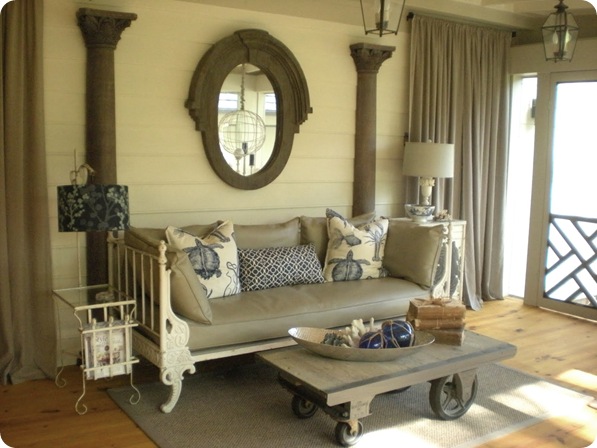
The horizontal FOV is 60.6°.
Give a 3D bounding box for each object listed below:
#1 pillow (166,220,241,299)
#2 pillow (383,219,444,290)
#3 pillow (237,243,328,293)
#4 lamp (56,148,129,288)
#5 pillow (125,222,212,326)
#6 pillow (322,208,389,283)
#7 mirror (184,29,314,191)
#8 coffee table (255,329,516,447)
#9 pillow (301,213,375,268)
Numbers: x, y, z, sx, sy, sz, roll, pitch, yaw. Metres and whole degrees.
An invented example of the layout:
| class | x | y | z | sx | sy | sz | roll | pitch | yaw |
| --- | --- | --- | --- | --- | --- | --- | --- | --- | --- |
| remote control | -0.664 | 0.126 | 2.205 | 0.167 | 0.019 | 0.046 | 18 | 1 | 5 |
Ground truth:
| class | x | y | z | sx | sy | sz | roll | pitch | yaw |
| --- | --- | --- | --- | --- | --- | --- | --- | --- | --- |
| pillow | -0.742 | 0.293 | 3.796 | 0.165 | 0.522 | 0.510 | -26 | -8 | 42 |
| pillow | 0.939 | 0.265 | 4.269 | 0.231 | 0.481 | 0.602 | -21 | 17 | -38 |
| pillow | -0.157 | 0.341 | 4.004 | 0.866 | 0.303 | 0.298 | -5 | 37 | -22 |
| lamp | -1.433 | 0.017 | 3.598 | 0.458 | 1.017 | 0.812 | -4 | 12 | -23 |
| pillow | -0.881 | 0.365 | 3.425 | 0.252 | 0.428 | 0.625 | -15 | 20 | -29 |
| pillow | 0.472 | 0.206 | 4.304 | 0.652 | 0.585 | 0.248 | 3 | -7 | -10 |
| mirror | -0.466 | -1.004 | 4.355 | 1.514 | 1.586 | 0.186 | -4 | 7 | -36 |
| coffee table | 0.549 | 0.964 | 3.224 | 1.446 | 0.564 | 0.589 | -4 | 12 | -27 |
| pillow | 0.318 | 0.158 | 4.292 | 0.517 | 0.442 | 0.147 | -3 | -2 | -25 |
